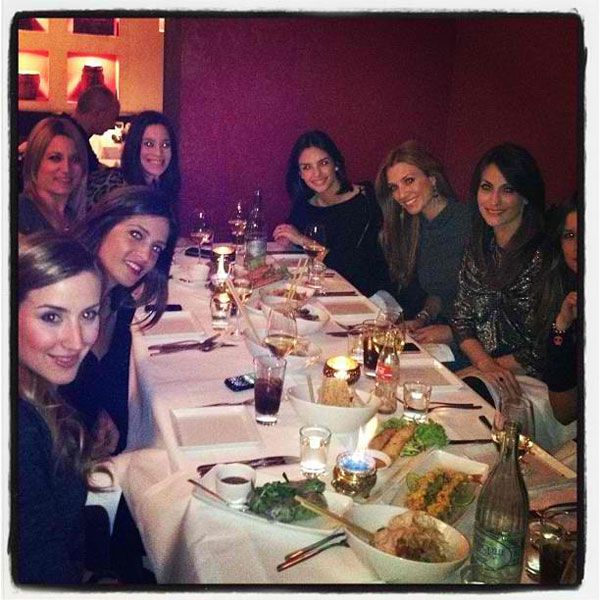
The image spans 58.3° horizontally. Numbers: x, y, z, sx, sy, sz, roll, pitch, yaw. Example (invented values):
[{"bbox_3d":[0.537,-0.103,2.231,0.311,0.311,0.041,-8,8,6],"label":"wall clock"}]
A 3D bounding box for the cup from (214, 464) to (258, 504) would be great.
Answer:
[{"bbox_3d":[-0.120,0.328,0.983,0.059,0.052,0.068,0,4,-4],"label":"cup"}]

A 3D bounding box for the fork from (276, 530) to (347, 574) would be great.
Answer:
[{"bbox_3d":[0.020,0.400,0.867,0.124,0.015,0.043,-12,27,-38],"label":"fork"}]

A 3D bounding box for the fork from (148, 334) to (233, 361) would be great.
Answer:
[{"bbox_3d":[-0.361,0.134,1.764,0.272,0.021,0.090,-4,21,-29],"label":"fork"}]

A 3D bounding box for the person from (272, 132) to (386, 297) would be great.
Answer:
[{"bbox_3d":[0.212,-0.625,3.559,0.753,1.169,0.380,-16,-6,4],"label":"person"}]

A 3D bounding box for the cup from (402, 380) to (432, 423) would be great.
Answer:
[{"bbox_3d":[0.289,0.250,1.359,0.083,0.097,0.084,6,9,-1],"label":"cup"}]

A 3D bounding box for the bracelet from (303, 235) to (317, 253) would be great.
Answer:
[{"bbox_3d":[0.048,-0.276,2.608,0.056,0.067,0.063,0,-13,1],"label":"bracelet"}]

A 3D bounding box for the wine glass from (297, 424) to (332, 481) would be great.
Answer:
[{"bbox_3d":[0.027,0.310,1.113,0.067,0.083,0.071,7,6,29],"label":"wine glass"}]

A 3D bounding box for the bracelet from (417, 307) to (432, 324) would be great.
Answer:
[{"bbox_3d":[0.736,0.105,3.199,0.090,0.029,0.090,-12,37,2],"label":"bracelet"}]

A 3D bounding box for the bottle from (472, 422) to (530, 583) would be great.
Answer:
[{"bbox_3d":[0.320,0.320,0.866,0.093,0.264,0.085,0,9,0],"label":"bottle"}]

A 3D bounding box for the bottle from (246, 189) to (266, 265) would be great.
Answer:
[{"bbox_3d":[-0.190,-0.355,2.588,0.102,0.416,0.107,2,38,-1],"label":"bottle"}]

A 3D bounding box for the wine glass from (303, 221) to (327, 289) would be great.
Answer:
[{"bbox_3d":[0.070,-0.213,2.582,0.074,0.232,0.070,-14,23,-42],"label":"wine glass"}]

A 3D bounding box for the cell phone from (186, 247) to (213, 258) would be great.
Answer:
[{"bbox_3d":[-0.556,-0.263,2.942,0.157,0.038,0.152,1,8,-8],"label":"cell phone"}]

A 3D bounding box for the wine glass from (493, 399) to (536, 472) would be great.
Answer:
[{"bbox_3d":[0.480,0.306,1.211,0.084,0.172,0.087,6,-2,36],"label":"wine glass"}]

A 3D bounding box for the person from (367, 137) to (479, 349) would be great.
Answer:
[{"bbox_3d":[0.893,-0.364,3.779,0.742,1.449,0.713,5,32,41],"label":"person"}]

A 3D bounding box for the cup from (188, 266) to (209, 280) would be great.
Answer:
[{"bbox_3d":[-0.470,-0.129,2.496,0.078,0.051,0.080,1,7,0],"label":"cup"}]

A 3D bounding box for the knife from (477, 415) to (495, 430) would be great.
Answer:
[{"bbox_3d":[0.465,0.305,1.349,0.020,0.008,0.071,-2,13,4],"label":"knife"}]
